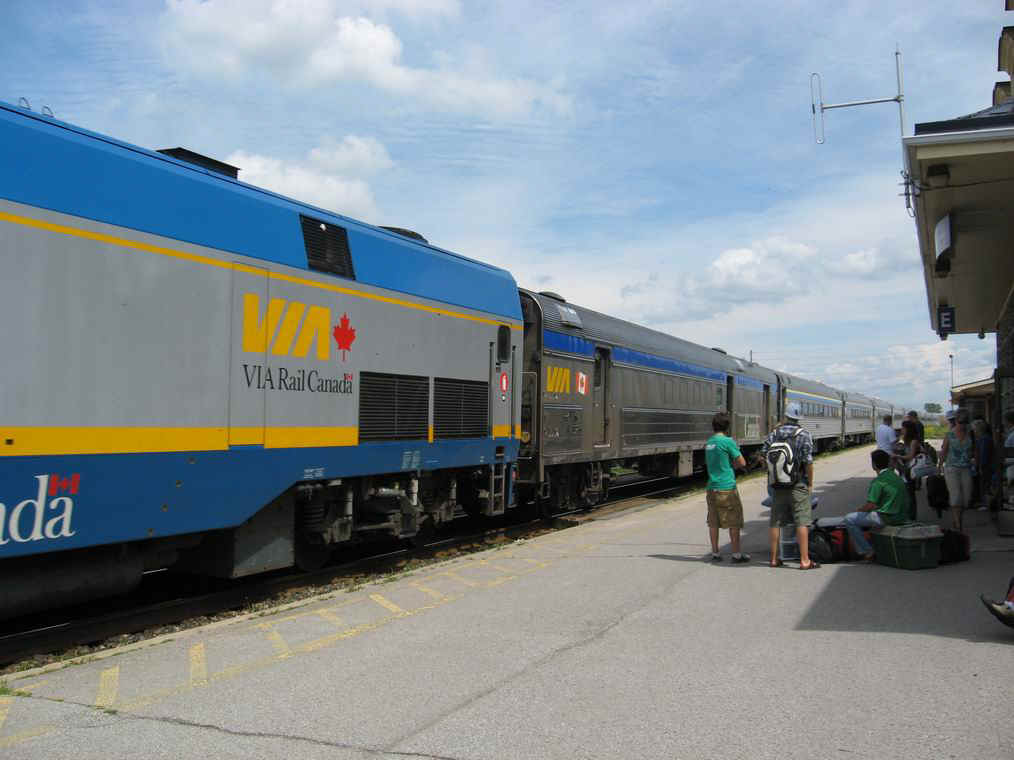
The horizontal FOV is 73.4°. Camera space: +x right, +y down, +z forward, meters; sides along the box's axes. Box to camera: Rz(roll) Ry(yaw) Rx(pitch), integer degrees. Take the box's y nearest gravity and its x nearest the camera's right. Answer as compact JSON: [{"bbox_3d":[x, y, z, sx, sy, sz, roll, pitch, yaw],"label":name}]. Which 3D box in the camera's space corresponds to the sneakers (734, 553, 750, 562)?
[{"bbox_3d":[3.121,2.306,9.015,0.089,0.103,0.267,-1,-2,43],"label":"sneakers"}]

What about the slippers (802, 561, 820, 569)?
[{"bbox_3d":[3.858,2.299,8.596,0.267,0.073,0.094,-1,-3,-30],"label":"slippers"}]

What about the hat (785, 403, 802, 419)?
[{"bbox_3d":[3.665,0.371,8.737,0.170,0.206,0.202,5,1,5],"label":"hat"}]

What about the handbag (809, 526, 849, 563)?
[{"bbox_3d":[4.235,2.132,8.922,0.466,0.439,0.195,0,-20,32],"label":"handbag"}]

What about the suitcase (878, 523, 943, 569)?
[{"bbox_3d":[5.011,2.023,8.530,0.523,0.413,0.642,3,-4,-30],"label":"suitcase"}]

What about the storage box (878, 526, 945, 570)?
[{"bbox_3d":[5.018,2.050,8.499,0.530,0.406,0.628,3,-4,-29],"label":"storage box"}]

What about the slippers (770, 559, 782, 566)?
[{"bbox_3d":[3.460,2.311,8.757,0.066,0.089,0.199,1,2,32],"label":"slippers"}]
